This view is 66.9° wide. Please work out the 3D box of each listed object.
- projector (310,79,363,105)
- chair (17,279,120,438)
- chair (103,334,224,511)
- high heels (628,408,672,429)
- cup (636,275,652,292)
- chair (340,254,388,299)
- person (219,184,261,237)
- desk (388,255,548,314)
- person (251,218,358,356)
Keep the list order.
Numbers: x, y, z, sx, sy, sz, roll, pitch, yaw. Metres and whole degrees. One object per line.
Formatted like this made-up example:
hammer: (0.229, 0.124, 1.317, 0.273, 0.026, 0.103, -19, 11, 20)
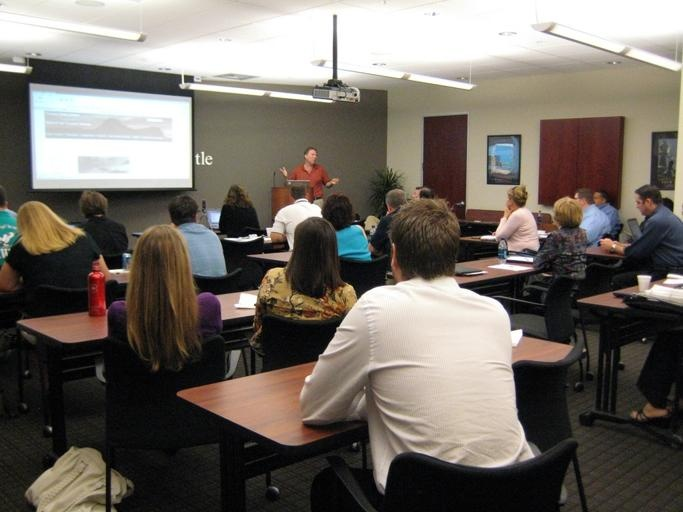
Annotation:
projector: (-0.031, -2.173, 6.776, 0.629, 0.318, 0.355, -1, 6, -28)
chair: (-1.747, 0.618, 3.248, 0.481, 0.876, 0.641, 5, -3, -14)
chair: (-0.834, 0.689, 2.587, 0.631, 0.933, 0.710, -1, 9, -16)
high heels: (2.084, 1.062, 3.478, 0.217, 0.083, 0.125, 6, 3, 29)
cup: (2.173, 0.198, 3.716, 0.115, 0.122, 0.112, 1, 4, 0)
chair: (0.189, 0.130, 4.681, 0.331, 0.589, 0.386, -5, 17, -19)
person: (-1.389, -0.598, 6.980, 0.572, 1.158, 0.675, -2, 9, -13)
desk: (1.278, 0.175, 4.796, 1.082, 0.537, 0.570, -9, 13, -42)
person: (-0.212, 0.218, 2.887, 0.532, 0.823, 0.498, 7, 5, 1)
